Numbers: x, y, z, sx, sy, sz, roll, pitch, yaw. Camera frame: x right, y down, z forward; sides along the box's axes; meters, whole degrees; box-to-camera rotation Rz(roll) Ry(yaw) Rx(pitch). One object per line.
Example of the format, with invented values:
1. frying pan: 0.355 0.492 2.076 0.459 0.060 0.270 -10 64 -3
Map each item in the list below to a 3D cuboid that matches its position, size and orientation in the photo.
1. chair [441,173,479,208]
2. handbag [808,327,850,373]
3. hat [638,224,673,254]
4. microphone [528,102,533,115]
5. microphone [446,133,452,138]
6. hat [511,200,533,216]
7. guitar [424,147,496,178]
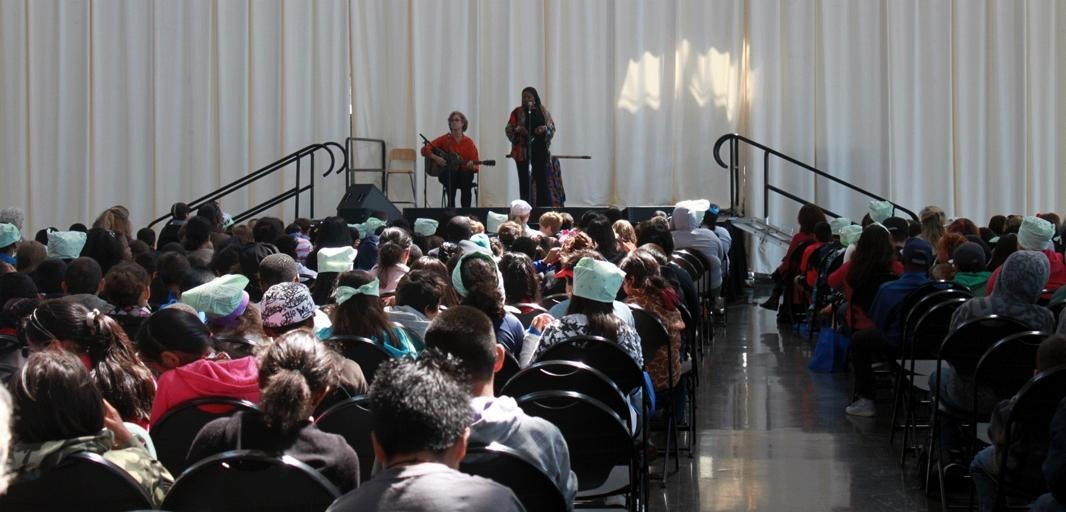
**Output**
1. chair: -1.631 -1.431 27.199 0.612 1.231 0.846 0 -1 1
2. handbag: 5.233 1.685 22.435 0.726 0.812 0.688 -1 3 11
3. hat: 2.149 -0.316 22.044 0.449 0.590 0.594 2 11 22
4. microphone: -0.093 -3.065 26.005 0.052 0.255 0.299 -1 -2 19
5. microphone: -1.859 -2.602 27.157 0.176 0.087 0.246 3 3 4
6. hat: -0.222 -0.872 24.093 0.308 0.279 0.347 13 18 42
7. guitar: -1.770 -2.028 26.782 1.312 0.585 0.394 -1 -2 39
